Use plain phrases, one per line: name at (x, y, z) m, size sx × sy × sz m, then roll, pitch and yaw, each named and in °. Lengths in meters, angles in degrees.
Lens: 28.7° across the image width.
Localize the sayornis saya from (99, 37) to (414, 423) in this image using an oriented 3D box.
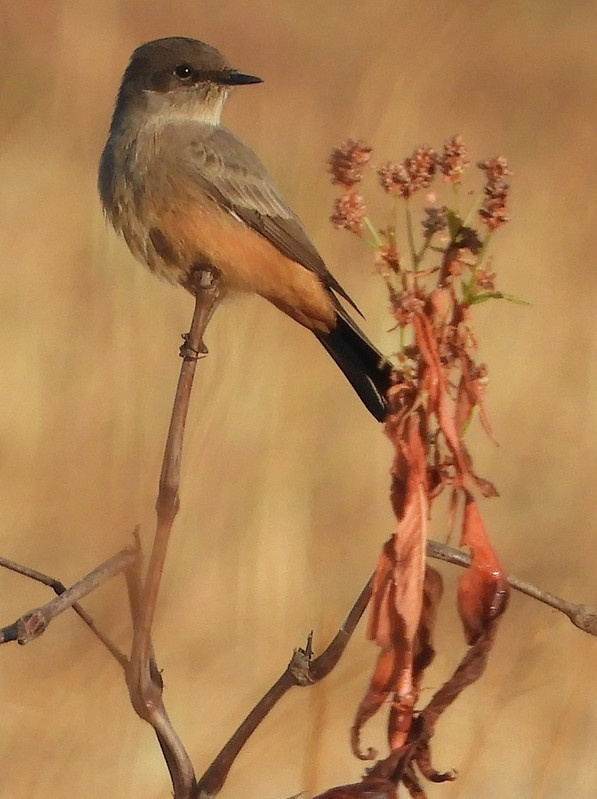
sayornis saya at (-0.193, -0.410, 2.855) m, size 0.484 × 0.712 × 0.792 m, roll -23°, pitch -54°, yaw 2°
